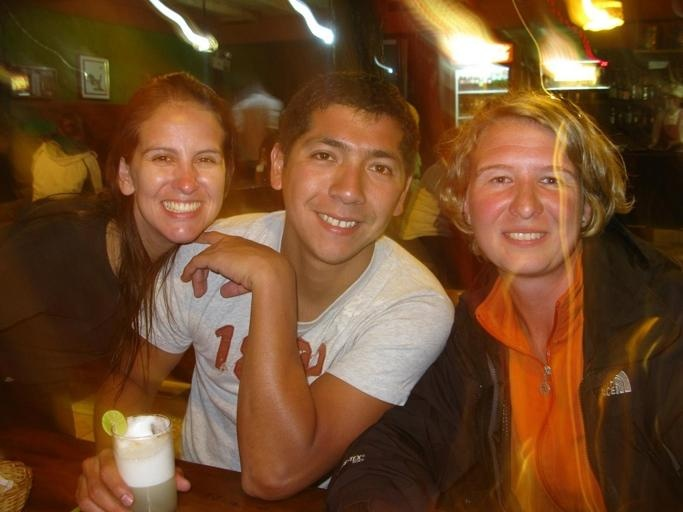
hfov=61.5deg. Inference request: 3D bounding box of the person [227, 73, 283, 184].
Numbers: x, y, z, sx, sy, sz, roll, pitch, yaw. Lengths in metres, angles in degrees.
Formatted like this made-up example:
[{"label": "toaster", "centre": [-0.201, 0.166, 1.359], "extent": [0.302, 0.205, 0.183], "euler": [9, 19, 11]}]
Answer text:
[{"label": "person", "centre": [-1.510, -2.136, 10.231], "extent": [1.106, 1.447, 2.149], "euler": [-13, 30, -10]}]
